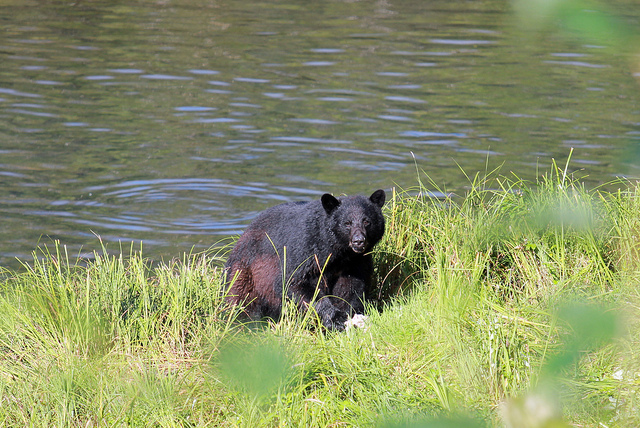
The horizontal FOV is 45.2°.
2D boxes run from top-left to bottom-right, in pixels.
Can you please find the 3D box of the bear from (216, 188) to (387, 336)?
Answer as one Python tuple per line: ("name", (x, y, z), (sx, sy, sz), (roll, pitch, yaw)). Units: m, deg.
("bear", (-0.186, 0.470, 8.474), (1.769, 1.354, 1.014), (1, 22, 4))
